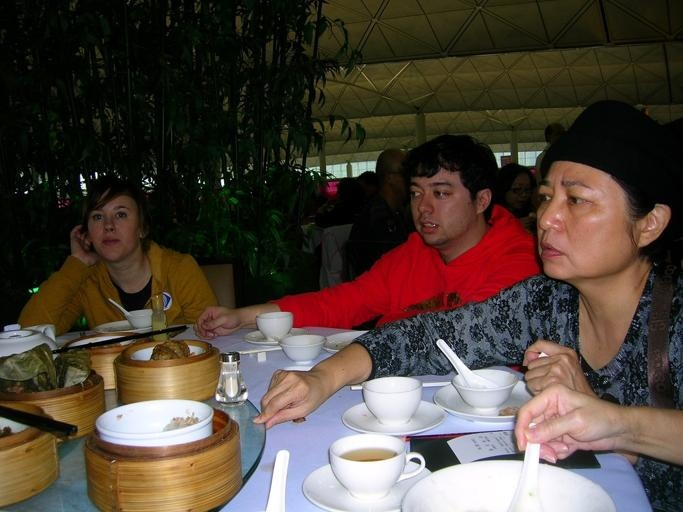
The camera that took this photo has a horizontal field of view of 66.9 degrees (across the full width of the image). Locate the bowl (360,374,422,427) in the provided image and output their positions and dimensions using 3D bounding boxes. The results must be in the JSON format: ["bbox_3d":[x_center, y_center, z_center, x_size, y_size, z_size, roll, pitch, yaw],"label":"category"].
[{"bbox_3d":[0.143,0.399,1.405,0.181,0.112,0.186,0,-11,0],"label":"bowl"}]

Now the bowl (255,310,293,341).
[{"bbox_3d":[-0.273,0.282,2.098,0.114,0.086,0.122,-3,-7,0],"label":"bowl"}]

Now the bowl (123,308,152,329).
[{"bbox_3d":[-0.901,0.273,2.274,0.096,0.057,0.096,-7,4,0],"label":"bowl"}]

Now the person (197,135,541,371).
[{"bbox_3d":[0.155,-0.007,2.661,1.368,0.944,0.965,0,-4,-18],"label":"person"}]

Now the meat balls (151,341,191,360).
[{"bbox_3d":[-0.506,0.265,1.519,0.067,0.034,0.074,2,-1,19],"label":"meat balls"}]

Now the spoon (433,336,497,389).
[{"bbox_3d":[0.368,0.336,1.542,0.067,0.040,0.259,-22,47,-14],"label":"spoon"}]

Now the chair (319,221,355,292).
[{"bbox_3d":[-0.054,-0.006,4.693,0.380,0.524,0.183,3,3,34],"label":"chair"}]

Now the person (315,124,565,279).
[{"bbox_3d":[0.715,-0.330,3.087,1.454,0.711,0.947,-34,32,-32],"label":"person"}]

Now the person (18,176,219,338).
[{"bbox_3d":[-1.354,0.009,2.995,0.789,1.079,0.625,-16,0,3],"label":"person"}]
